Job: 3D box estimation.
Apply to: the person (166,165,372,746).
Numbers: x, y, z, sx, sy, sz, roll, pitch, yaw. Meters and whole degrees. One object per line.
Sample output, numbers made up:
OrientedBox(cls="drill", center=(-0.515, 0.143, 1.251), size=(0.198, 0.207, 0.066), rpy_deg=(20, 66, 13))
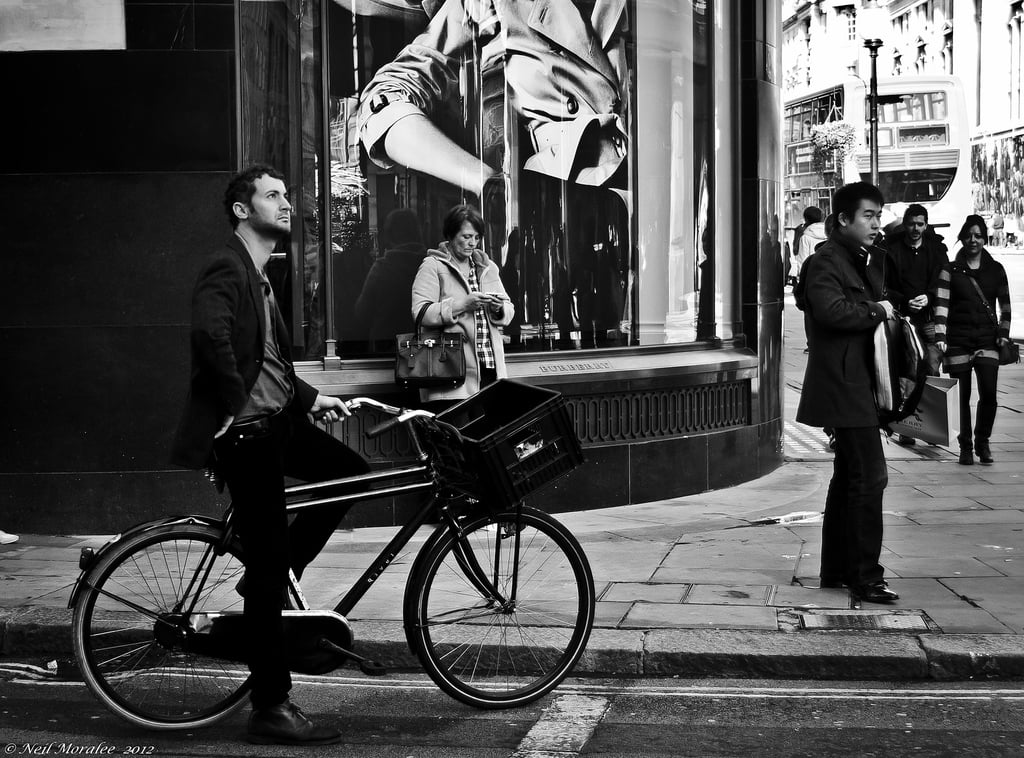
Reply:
OrientedBox(cls="person", center=(-1.101, 0.321, 5.675), size=(0.614, 2.490, 0.614), rpy_deg=(3, 11, 19))

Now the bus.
OrientedBox(cls="bus", center=(9.071, -5.621, 35.926), size=(3.161, 4.912, 9.899), rpy_deg=(-7, 7, -6))

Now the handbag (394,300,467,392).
OrientedBox(cls="handbag", center=(-0.569, -0.215, 8.634), size=(0.472, 0.597, 0.172), rpy_deg=(-1, -17, -3))

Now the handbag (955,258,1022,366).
OrientedBox(cls="handbag", center=(4.593, -0.574, 12.221), size=(0.545, 0.909, 0.503), rpy_deg=(3, 11, 18))

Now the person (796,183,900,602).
OrientedBox(cls="person", center=(1.970, 0.068, 7.424), size=(0.599, 2.370, 0.739), rpy_deg=(2, 10, 13))

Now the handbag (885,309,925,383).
OrientedBox(cls="handbag", center=(2.256, -0.166, 7.319), size=(0.259, 0.348, 0.111), rpy_deg=(-1, 2, -20))

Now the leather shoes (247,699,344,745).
OrientedBox(cls="leather shoes", center=(-1.007, 1.524, 5.698), size=(0.478, 0.224, 0.166), rpy_deg=(1, -2, -6))

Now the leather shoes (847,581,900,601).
OrientedBox(cls="leather shoes", center=(2.061, 1.203, 7.288), size=(0.288, 0.135, 0.106), rpy_deg=(-1, 0, 26))

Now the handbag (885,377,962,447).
OrientedBox(cls="handbag", center=(3.497, 0.264, 10.707), size=(0.205, 0.568, 0.586), rpy_deg=(-37, 40, -30))

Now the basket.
OrientedBox(cls="basket", center=(0.082, 0.314, 5.857), size=(0.610, 0.291, 0.606), rpy_deg=(-28, 0, -38))
